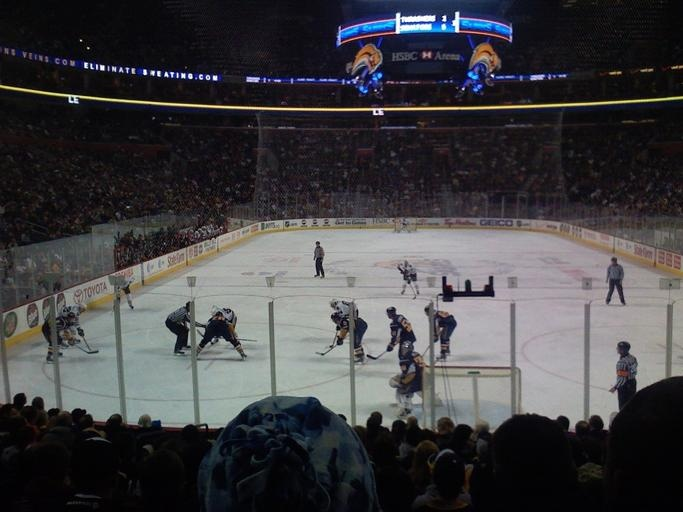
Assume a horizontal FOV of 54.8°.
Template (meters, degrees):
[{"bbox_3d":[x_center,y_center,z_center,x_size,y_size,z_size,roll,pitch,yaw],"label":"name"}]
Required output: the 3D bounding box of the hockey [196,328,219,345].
[{"bbox_3d":[-3.142,1.907,15.575,0.219,0.358,0.555,-15,-15,-21],"label":"hockey"}]

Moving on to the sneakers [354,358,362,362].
[{"bbox_3d":[0.386,2.313,14.624,0.134,0.091,0.109,0,-8,0],"label":"sneakers"}]

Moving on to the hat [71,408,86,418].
[{"bbox_3d":[-3.636,2.177,9.145,0.177,0.105,0.314,4,-8,-23],"label":"hat"}]

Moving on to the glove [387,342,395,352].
[{"bbox_3d":[1.023,1.907,13.699,0.237,0.208,0.188,4,0,3],"label":"glove"}]

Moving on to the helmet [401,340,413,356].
[{"bbox_3d":[1.231,1.732,12.408,0.237,0.272,0.517,0,-8,2],"label":"helmet"}]

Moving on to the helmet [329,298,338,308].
[{"bbox_3d":[-0.131,1.066,14.755,0.207,0.257,0.470,1,-8,-7],"label":"helmet"}]
